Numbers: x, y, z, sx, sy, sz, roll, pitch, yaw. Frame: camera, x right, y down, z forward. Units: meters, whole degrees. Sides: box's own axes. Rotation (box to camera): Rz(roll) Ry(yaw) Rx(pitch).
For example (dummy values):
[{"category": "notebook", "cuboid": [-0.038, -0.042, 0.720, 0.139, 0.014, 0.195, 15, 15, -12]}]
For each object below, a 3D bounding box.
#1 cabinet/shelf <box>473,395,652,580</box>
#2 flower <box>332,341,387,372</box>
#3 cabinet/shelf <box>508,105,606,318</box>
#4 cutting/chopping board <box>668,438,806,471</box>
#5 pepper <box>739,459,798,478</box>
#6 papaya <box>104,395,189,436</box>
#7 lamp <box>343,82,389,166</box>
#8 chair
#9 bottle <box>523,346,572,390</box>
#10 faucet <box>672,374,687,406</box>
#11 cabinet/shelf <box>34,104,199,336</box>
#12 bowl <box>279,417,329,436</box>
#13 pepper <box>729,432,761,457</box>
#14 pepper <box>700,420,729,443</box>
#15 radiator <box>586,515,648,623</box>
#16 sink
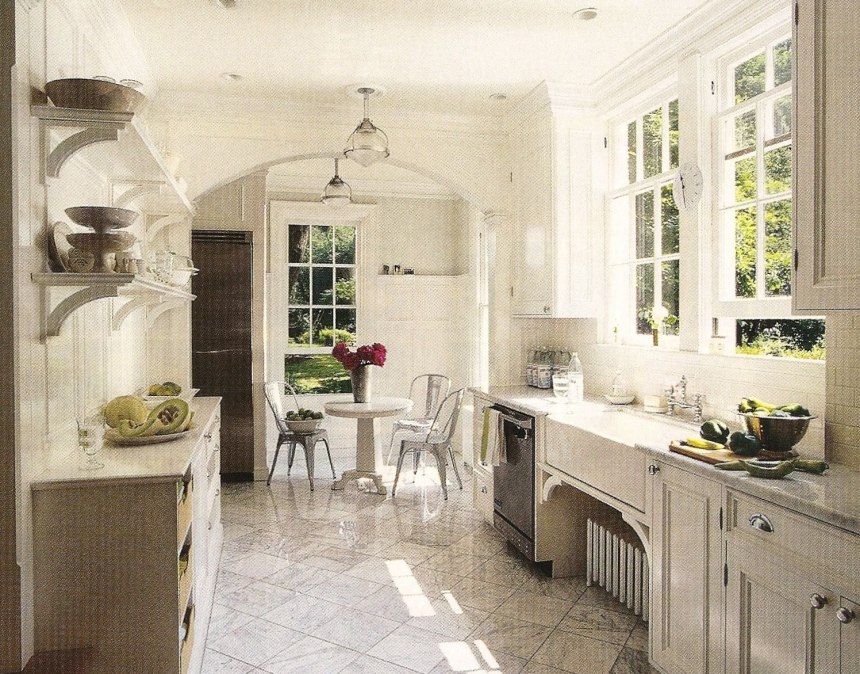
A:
[{"category": "cabinet/shelf", "cuboid": [0.742, 0.873, 3.905, 0.766, 0.957, 0.799, 0, 0, -14]}, {"category": "flower", "cuboid": [-0.592, 0.158, 5.928, 0.347, 0.215, 0.334, 7, 1, -28]}, {"category": "cabinet/shelf", "cuboid": [0.809, -0.828, 4.935, 0.462, 1.458, 0.663, 0, 0, -13]}, {"category": "cutting/chopping board", "cuboid": [1.190, 0.453, 2.904, 0.510, 0.062, 0.578, 3, 2, -13]}, {"category": "pepper", "cuboid": [1.274, 0.488, 2.730, 0.179, 0.058, 0.176, 3, 6, 29]}, {"category": "papaya", "cuboid": [-1.253, 0.351, 3.254, 0.302, 0.176, 0.324, 2, 3, -1]}, {"category": "lamp", "cuboid": [-0.418, -1.358, 4.760, 0.283, 0.497, 0.664, -1, 6, -5]}, {"category": "chair", "cuboid": [-0.556, 0.719, 6.500, 1.671, 1.047, 1.895, 0, 6, 1]}, {"category": "bottle", "cuboid": [0.838, 0.224, 5.210, 0.314, 0.275, 0.263, 0, -3, 11]}, {"category": "faucet", "cuboid": [1.330, 0.284, 3.880, 0.096, 0.147, 0.059, 3, 7, 31]}, {"category": "cabinet/shelf", "cuboid": [-1.307, -0.463, 2.888, 0.403, 0.716, 1.113, 1, 2, -10]}, {"category": "bowl", "cuboid": [-1.048, 0.743, 6.061, 0.323, 0.138, 0.301, 0, 6, 0]}, {"category": "pepper", "cuboid": [1.240, 0.428, 2.867, 0.097, 0.090, 0.100, -14, -12, 39]}, {"category": "pepper", "cuboid": [1.199, 0.403, 3.078, 0.100, 0.088, 0.091, 14, -13, -36]}, {"category": "radiator", "cuboid": [1.002, 1.249, 3.829, 0.084, 0.382, 0.678, -2, 6, -15]}, {"category": "sink", "cuboid": [0.998, 0.569, 3.701, 0.394, 0.221, 0.703, -2, 5, -18]}]
